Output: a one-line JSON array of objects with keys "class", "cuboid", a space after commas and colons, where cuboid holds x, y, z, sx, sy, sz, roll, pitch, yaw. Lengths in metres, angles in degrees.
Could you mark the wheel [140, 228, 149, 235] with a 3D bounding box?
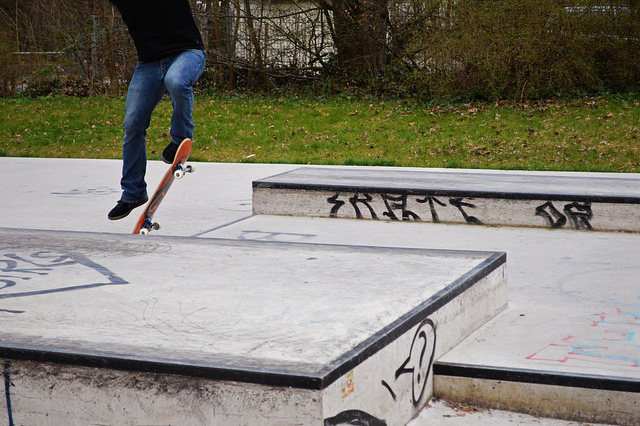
[{"class": "wheel", "cuboid": [-1.574, 0.157, 7.339, 0.077, 0.077, 0.075, -7, 1, 0]}]
